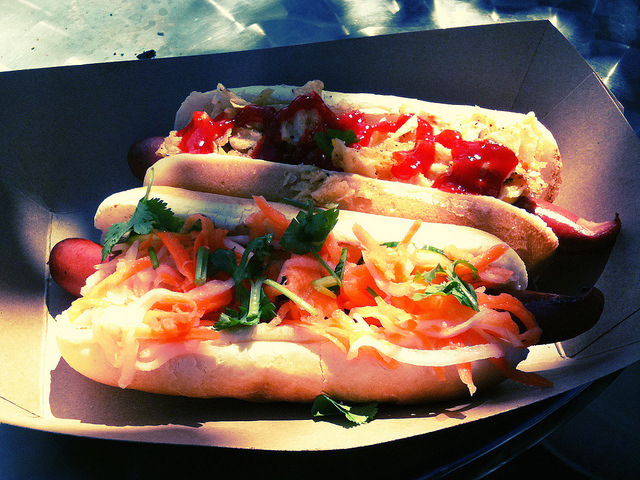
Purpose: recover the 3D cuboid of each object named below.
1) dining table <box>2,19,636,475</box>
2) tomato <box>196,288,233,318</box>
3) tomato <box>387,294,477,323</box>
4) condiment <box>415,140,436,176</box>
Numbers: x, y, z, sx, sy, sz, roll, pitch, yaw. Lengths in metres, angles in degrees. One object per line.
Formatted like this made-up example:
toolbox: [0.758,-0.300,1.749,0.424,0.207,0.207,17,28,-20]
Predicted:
dining table: [0.173,0.727,5.132,4.943,1.309,2.862,-3,61,-2]
tomato: [-0.598,0.383,3.789,0.311,0.095,0.096,-23,28,-16]
tomato: [0.676,0.411,3.668,0.520,0.076,0.155,1,67,6]
condiment: [0.726,-0.568,4.133,0.176,0.080,0.206,0,92,-4]
